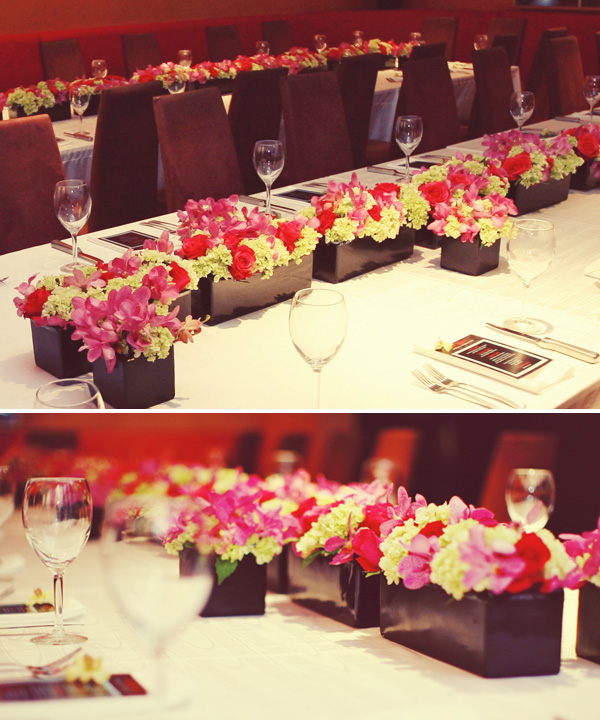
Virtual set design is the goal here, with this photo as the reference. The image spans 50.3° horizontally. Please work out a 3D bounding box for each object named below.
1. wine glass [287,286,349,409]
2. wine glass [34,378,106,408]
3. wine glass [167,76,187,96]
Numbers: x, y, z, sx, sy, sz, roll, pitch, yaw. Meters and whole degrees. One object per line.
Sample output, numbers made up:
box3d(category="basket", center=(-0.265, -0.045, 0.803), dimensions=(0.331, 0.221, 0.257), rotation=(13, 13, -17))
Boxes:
box3d(category="wine glass", center=(0.019, -0.007, 0.890), dimensions=(0.073, 0.198, 0.128), rotation=(-5, 19, -9))
box3d(category="wine glass", center=(-0.239, 0.034, 0.651), dimensions=(0.051, 0.020, 0.040), rotation=(2, -4, -1))
box3d(category="wine glass", center=(-0.768, -1.729, 4.030), dimensions=(0.089, 0.091, 0.137), rotation=(12, 23, 35))
